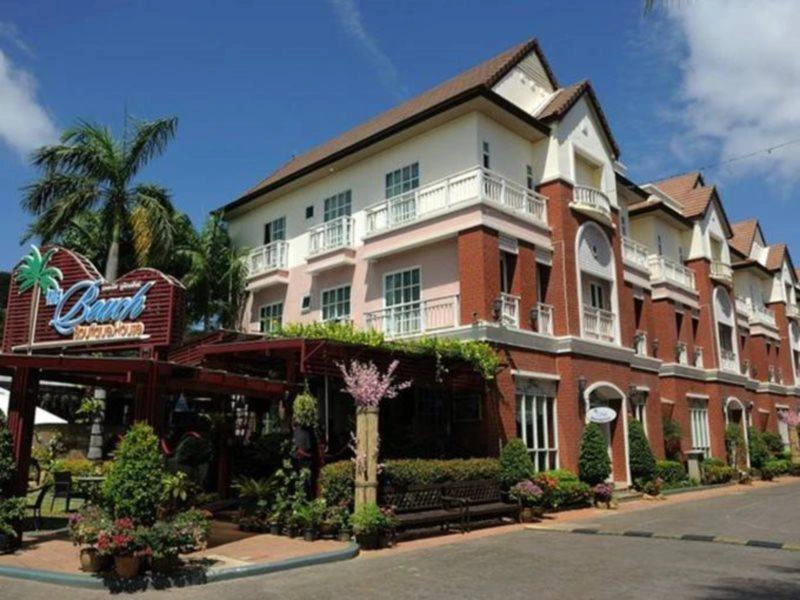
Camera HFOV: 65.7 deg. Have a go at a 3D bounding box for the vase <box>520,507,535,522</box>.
[{"bbox_3d":[3.631,6.114,17.652,0.334,0.275,0.346,-12,-19,35],"label":"vase"}]

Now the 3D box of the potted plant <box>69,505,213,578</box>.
[{"bbox_3d":[-4.739,4.434,11.276,1.515,0.822,1.522,16,-22,-31],"label":"potted plant"}]

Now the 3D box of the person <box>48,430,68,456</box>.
[{"bbox_3d":[-12.876,5.405,23.293,0.638,0.904,0.309,13,-22,-31],"label":"person"}]

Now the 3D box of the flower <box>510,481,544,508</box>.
[{"bbox_3d":[3.599,5.474,17.561,0.783,0.597,0.813,-14,-19,35],"label":"flower"}]
